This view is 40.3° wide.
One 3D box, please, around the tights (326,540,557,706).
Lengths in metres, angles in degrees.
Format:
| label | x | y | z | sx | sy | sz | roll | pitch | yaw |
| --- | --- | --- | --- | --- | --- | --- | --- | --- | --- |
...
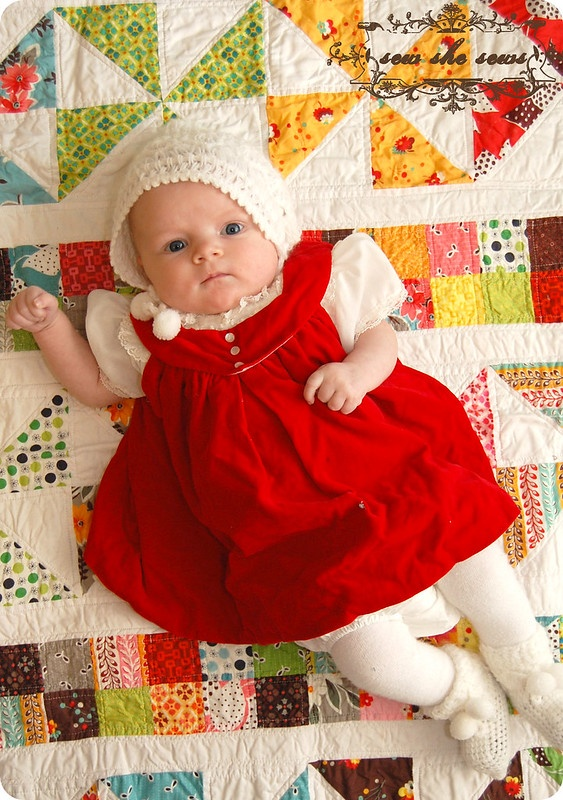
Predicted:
| label | x | y | z | sx | sy | sz | roll | pitch | yaw |
| --- | --- | --- | --- | --- | --- | --- | --- | --- | --- |
| tights | 0.241 | 0.372 | 1.246 | 0.286 | 0.120 | 0.272 | -36 | 91 | -9 |

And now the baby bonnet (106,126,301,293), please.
| label | x | y | z | sx | sy | sz | roll | pitch | yaw |
| --- | --- | --- | --- | --- | --- | --- | --- | --- | --- |
| baby bonnet | -0.141 | -0.310 | 1.301 | 0.328 | 0.253 | 0.246 | -12 | 90 | 2 |

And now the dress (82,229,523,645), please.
| label | x | y | z | sx | sy | sz | roll | pitch | yaw |
| --- | --- | --- | --- | --- | --- | --- | --- | --- | --- |
| dress | -0.069 | 0.085 | 1.201 | 0.613 | 0.210 | 0.592 | -30 | 83 | -3 |
